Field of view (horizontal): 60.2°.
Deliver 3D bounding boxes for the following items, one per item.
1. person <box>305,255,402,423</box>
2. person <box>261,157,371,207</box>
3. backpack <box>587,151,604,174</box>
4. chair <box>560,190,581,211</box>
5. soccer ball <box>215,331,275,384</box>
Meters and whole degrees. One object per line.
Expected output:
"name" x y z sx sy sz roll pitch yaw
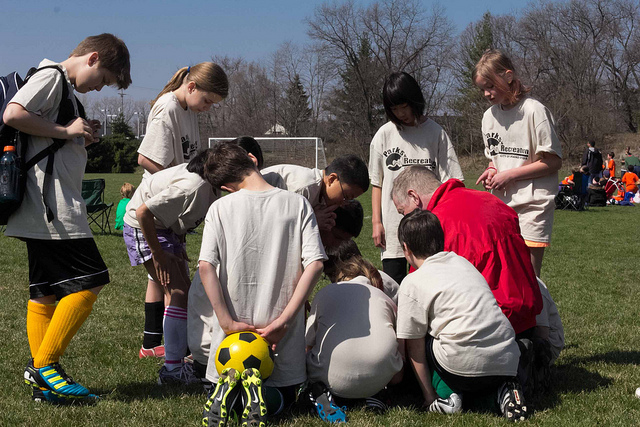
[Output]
"person" 0.267 1.093 4.691 0.886 1.557 1.102 3 -22 -4
"person" 0.014 -0.343 5.612 0.771 0.354 0.583 27 -1 9
"backpack" 11.140 -2.065 22.350 0.976 0.916 0.304 -3 6 -31
"chair" 9.096 -0.492 19.916 0.747 0.845 0.748 1 -20 10
"soccer ball" -0.572 1.092 4.462 0.410 0.491 0.393 6 -5 1
